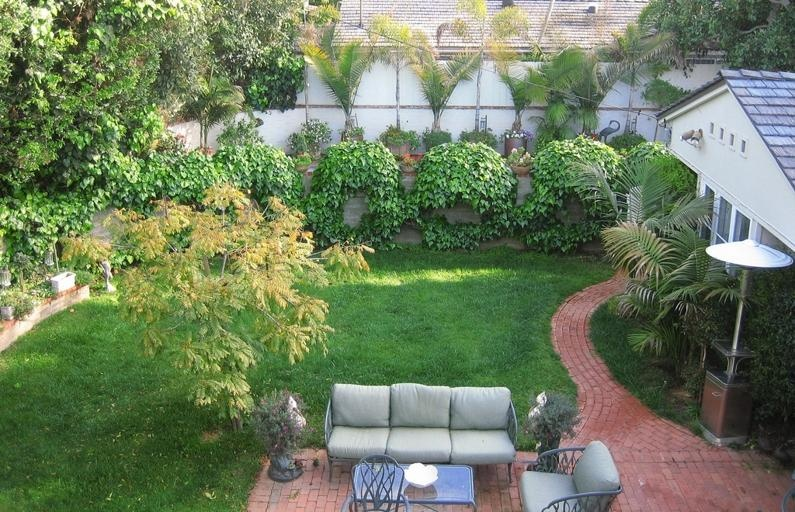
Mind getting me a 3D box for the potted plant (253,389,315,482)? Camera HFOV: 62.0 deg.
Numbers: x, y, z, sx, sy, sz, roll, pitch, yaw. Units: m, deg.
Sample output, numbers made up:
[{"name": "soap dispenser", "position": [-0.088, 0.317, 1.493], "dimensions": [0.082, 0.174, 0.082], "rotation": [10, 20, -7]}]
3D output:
[{"name": "potted plant", "position": [-2.148, 3.423, 12.473], "dimensions": [1.034, 1.451, 1.008], "rotation": [-9, 22, -22]}]
